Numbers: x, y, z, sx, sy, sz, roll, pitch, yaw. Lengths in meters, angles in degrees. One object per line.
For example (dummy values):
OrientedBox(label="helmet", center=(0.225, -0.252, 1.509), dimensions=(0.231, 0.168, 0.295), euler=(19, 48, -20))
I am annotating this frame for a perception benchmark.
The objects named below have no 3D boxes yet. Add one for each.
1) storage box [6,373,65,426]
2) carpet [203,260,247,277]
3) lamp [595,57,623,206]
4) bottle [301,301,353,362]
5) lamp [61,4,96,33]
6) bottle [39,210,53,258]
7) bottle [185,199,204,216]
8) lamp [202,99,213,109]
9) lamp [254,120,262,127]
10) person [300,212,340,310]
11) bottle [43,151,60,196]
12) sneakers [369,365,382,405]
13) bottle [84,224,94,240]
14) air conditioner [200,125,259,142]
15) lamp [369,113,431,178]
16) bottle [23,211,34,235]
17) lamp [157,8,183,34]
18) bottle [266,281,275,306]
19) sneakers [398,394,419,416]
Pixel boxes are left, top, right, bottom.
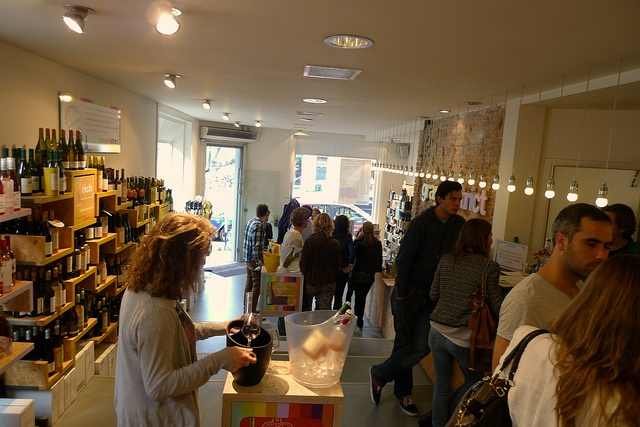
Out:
OrientedBox(label="storage box", center=(-2.300, 1.556, 3.653), dimensions=(0.454, 0.465, 0.330), euler=(2, -5, -9))
OrientedBox(label="carpet", center=(-2.133, 1.233, 9.598), dimensions=(0.906, 0.005, 1.049), euler=(6, 9, 13))
OrientedBox(label="lamp", center=(2.815, -0.701, 4.151), dimensions=(0.128, 1.397, 0.129), euler=(3, 11, -5))
OrientedBox(label="bottle", center=(0.090, 0.673, 2.467), dimensions=(0.175, 0.248, 0.369), euler=(6, 7, 40))
OrientedBox(label="lamp", center=(-1.647, -1.316, 2.938), dimensions=(0.178, 0.136, 0.176), euler=(7, -10, -36))
OrientedBox(label="bottle", center=(-2.136, 0.159, 3.372), dimensions=(0.075, 0.354, 0.162), euler=(-1, 6, -32))
OrientedBox(label="bottle", center=(-2.045, -0.104, 7.076), dimensions=(0.226, 0.288, 0.236), euler=(2, 17, -1))
OrientedBox(label="lamp", center=(-1.636, -1.605, 6.276), dimensions=(0.141, 0.113, 0.219), euler=(28, 22, -15))
OrientedBox(label="lamp", center=(-1.336, -1.926, 9.299), dimensions=(0.155, 0.153, 0.160), euler=(23, 18, -9))
OrientedBox(label="person", center=(0.009, 0.638, 5.556), dimensions=(0.516, 1.311, 0.416), euler=(2, 5, 3))
OrientedBox(label="bottle", center=(-2.189, -0.333, 3.507), dimensions=(0.107, 0.359, 0.285), euler=(-1, 6, -32))
OrientedBox(label="sneakers", center=(0.520, 1.638, 4.138), dimensions=(0.120, 0.322, 0.113), euler=(-4, 0, 24))
OrientedBox(label="bottle", center=(-2.154, 0.180, 4.022), dimensions=(0.099, 0.115, 0.101), euler=(1, 8, -12))
OrientedBox(label="air conditioner", center=(-2.130, -1.879, 10.216), dimensions=(0.405, 0.342, 1.510), euler=(6, 6, 37))
OrientedBox(label="lamp", center=(1.632, -1.471, 9.901), dimensions=(1.077, 0.856, 3.917), euler=(3, 5, 6))
OrientedBox(label="bottle", center=(-2.277, 0.083, 3.356), dimensions=(0.082, 0.150, 0.055), euler=(-1, 6, -30))
OrientedBox(label="lamp", center=(-1.018, -1.292, 2.909), dimensions=(0.178, 0.133, 0.179), euler=(2, 5, -9))
OrientedBox(label="bottle", center=(-0.615, 0.986, 5.325), dimensions=(0.092, 0.271, 0.023), euler=(2, 5, -7))
OrientedBox(label="sneakers", center=(0.816, 1.779, 4.008), dimensions=(0.087, 0.097, 0.240), euler=(2, 0, -9))
